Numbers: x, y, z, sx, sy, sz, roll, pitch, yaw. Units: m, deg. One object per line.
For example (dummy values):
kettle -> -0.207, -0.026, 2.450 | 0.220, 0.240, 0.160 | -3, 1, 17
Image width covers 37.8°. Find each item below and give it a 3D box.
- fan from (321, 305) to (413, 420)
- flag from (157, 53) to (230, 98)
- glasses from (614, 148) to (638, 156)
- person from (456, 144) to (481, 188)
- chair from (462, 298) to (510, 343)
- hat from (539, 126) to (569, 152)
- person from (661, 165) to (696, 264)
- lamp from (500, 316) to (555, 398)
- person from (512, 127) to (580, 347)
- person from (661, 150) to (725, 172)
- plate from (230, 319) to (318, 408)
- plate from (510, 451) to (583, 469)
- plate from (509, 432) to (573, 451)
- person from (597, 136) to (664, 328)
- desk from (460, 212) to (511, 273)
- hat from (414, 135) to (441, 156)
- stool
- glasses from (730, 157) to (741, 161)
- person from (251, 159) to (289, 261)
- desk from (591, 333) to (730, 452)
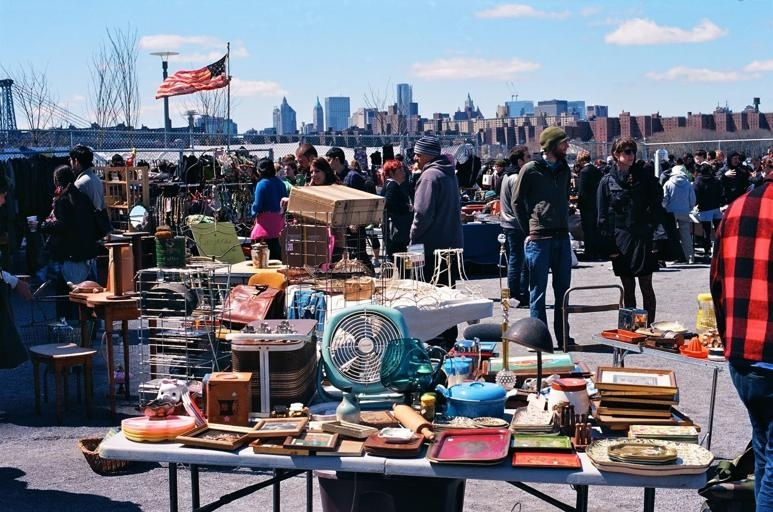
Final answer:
fan -> -0.203, 0.813, 8.776 | 0.842, 0.882, 0.707 | 0, -2, -4
flag -> -3.307, -3.060, 19.372 | 1.150, 0.766, 1.807 | -2, 3, -9
glasses -> 2.525, -1.088, 11.942 | 0.224, 0.073, 0.179 | -1, 3, 7
person -> 1.546, -1.719, 21.694 | 0.489, 0.810, 0.594 | -8, 36, -2
chair -> 0.829, 0.552, 9.599 | 0.343, 0.549, 0.377 | 0, -5, 12
hat -> 1.755, -1.230, 11.907 | 0.279, 0.256, 0.410 | -1, 3, 7
person -> 4.410, -0.574, 16.990 | 0.446, 1.552, 2.779 | -1, 3, 15
lamp -> 1.093, 0.765, 8.688 | 0.355, 0.576, 0.420 | -1, 3, 6
person -> 1.663, -0.166, 11.940 | 0.627, 2.345, 0.372 | -2, 3, -1
person -> 6.018, -1.830, 21.578 | 0.969, 0.321, 1.000 | 0, 8, 8
plate -> -0.837, 0.810, 8.671 | 0.569, 0.676, 0.935 | 0, 2, 6
plate -> 1.139, 1.454, 8.044 | 0.324, 0.034, 0.184 | 2, 14, 1
plate -> 1.118, 1.347, 8.171 | 0.257, 0.035, 0.175 | 2, 16, 4
person -> 2.630, -0.246, 12.105 | 0.589, 1.989, 0.465 | -3, 3, -19
desk -> 1.428, -0.100, 17.021 | 0.757, 0.559, 0.750 | -5, 7, -33
hat -> 0.434, -1.182, 12.051 | 0.217, 0.172, 0.219 | 13, 14, 41
stool -> -3.236, 1.196, 10.982 | 0.592, 0.729, 0.783 | -2, 3, -42
glasses -> 6.015, -1.663, 19.481 | 0.075, 0.061, 0.099 | 1, 12, -10
person -> -1.426, -0.537, 13.672 | 0.468, 1.209, 1.011 | -2, 3, -5
desk -> 2.262, 1.128, 9.223 | 1.075, 0.962, 0.452 | 6, 5, 42
